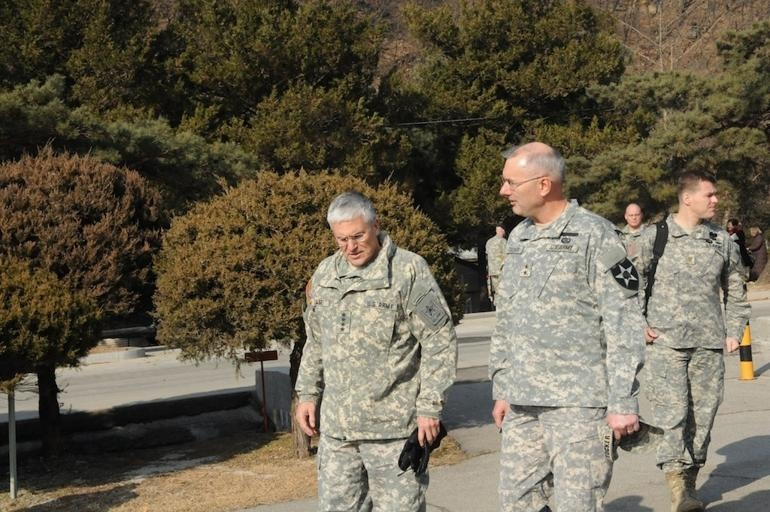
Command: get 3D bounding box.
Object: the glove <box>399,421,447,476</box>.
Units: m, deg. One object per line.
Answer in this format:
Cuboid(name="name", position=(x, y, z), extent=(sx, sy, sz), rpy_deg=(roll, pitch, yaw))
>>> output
Cuboid(name="glove", position=(0.549, 2.736, 14.835), extent=(0.631, 0.779, 0.320), rpy_deg=(47, -18, -28))
